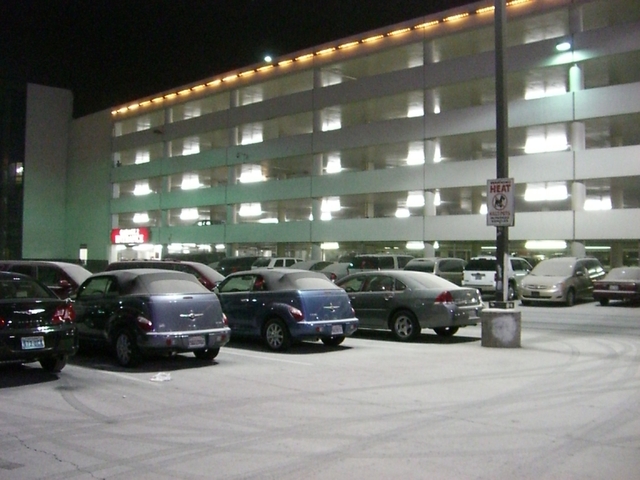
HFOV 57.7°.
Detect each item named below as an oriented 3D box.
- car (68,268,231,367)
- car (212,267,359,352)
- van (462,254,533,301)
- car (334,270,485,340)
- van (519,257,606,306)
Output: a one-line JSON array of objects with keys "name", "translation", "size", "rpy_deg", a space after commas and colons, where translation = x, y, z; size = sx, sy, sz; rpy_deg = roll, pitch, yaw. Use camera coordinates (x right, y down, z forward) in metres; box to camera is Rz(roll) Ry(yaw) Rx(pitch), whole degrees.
[{"name": "car", "translation": [-3.714, 1.394, 12.173], "size": [2.981, 1.344, 1.823], "rpy_deg": [4, 2, 43]}, {"name": "car", "translation": [-0.944, 1.437, 14.225], "size": [3.023, 1.358, 1.870], "rpy_deg": [3, 2, 42]}, {"name": "van", "translation": [8.623, 1.623, 27.593], "size": [1.926, 1.749, 3.716], "rpy_deg": [1, 3, 42]}, {"name": "car", "translation": [2.403, 1.659, 15.632], "size": [3.760, 1.287, 1.739], "rpy_deg": [2, 0, 44]}, {"name": "van", "translation": [10.766, 1.781, 25.877], "size": [4.029, 2.016, 1.657], "rpy_deg": [0, 3, -43]}]
